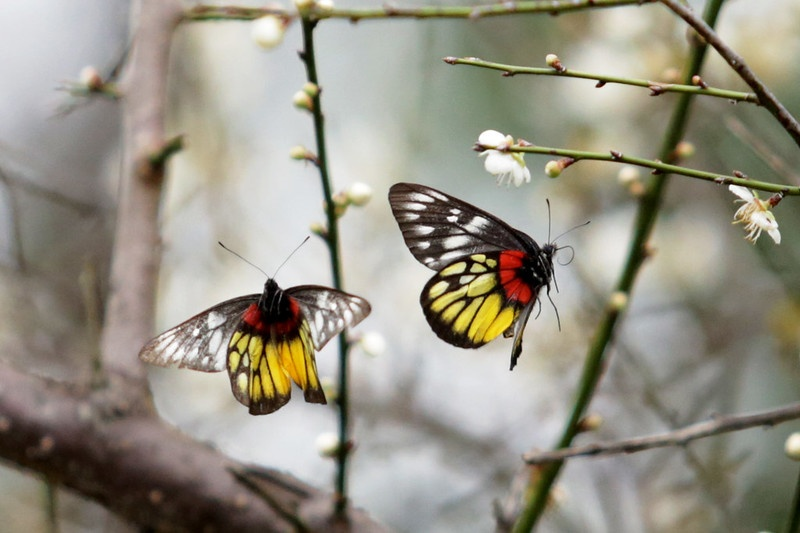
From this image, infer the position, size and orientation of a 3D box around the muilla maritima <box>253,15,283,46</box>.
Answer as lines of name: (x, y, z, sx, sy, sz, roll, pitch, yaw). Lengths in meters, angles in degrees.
muilla maritima: (-0.213, -0.381, 1.565, 0.045, 0.048, 0.056, 6, -39, -3)

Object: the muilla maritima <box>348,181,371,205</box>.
muilla maritima: (-0.071, -0.119, 1.589, 0.029, 0.041, 0.031, -2, 20, 28)

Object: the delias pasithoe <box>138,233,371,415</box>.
delias pasithoe: (-0.245, 0.122, 1.677, 0.318, 0.248, 0.171, -10, 20, -14)

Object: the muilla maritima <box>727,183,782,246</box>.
muilla maritima: (0.630, -0.088, 1.691, 0.048, 0.107, 0.063, -4, 11, -8)
